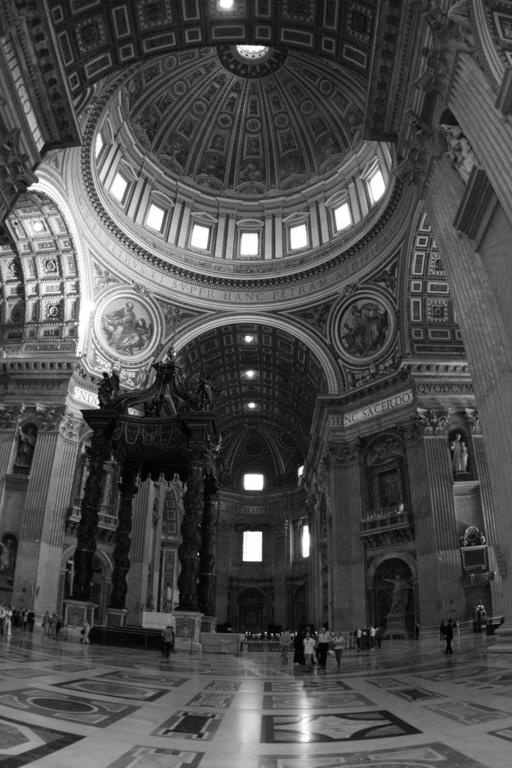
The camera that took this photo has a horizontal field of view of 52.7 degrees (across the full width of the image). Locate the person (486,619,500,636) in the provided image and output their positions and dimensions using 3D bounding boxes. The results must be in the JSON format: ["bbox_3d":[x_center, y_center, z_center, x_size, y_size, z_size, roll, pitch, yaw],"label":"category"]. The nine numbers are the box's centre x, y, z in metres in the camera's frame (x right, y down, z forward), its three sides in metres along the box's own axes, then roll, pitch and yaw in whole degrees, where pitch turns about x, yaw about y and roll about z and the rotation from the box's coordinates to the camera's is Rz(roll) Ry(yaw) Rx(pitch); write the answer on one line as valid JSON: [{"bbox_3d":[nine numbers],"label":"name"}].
[{"bbox_3d":[6.508,6.682,14.194,0.389,0.363,1.028,-8,-25,21],"label":"person"}]

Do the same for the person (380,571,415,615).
[{"bbox_3d":[5.010,7.532,18.450,0.714,1.347,1.314,15,-27,-29],"label":"person"}]

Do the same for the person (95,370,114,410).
[{"bbox_3d":[-3.804,0.176,13.030,0.355,1.181,0.726,9,-24,-17],"label":"person"}]

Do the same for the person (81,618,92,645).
[{"bbox_3d":[-3.766,5.461,11.378,0.210,0.426,0.851,8,-24,-15],"label":"person"}]

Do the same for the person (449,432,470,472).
[{"bbox_3d":[7.267,2.484,18.502,0.512,1.615,0.508,20,-29,-37],"label":"person"}]
